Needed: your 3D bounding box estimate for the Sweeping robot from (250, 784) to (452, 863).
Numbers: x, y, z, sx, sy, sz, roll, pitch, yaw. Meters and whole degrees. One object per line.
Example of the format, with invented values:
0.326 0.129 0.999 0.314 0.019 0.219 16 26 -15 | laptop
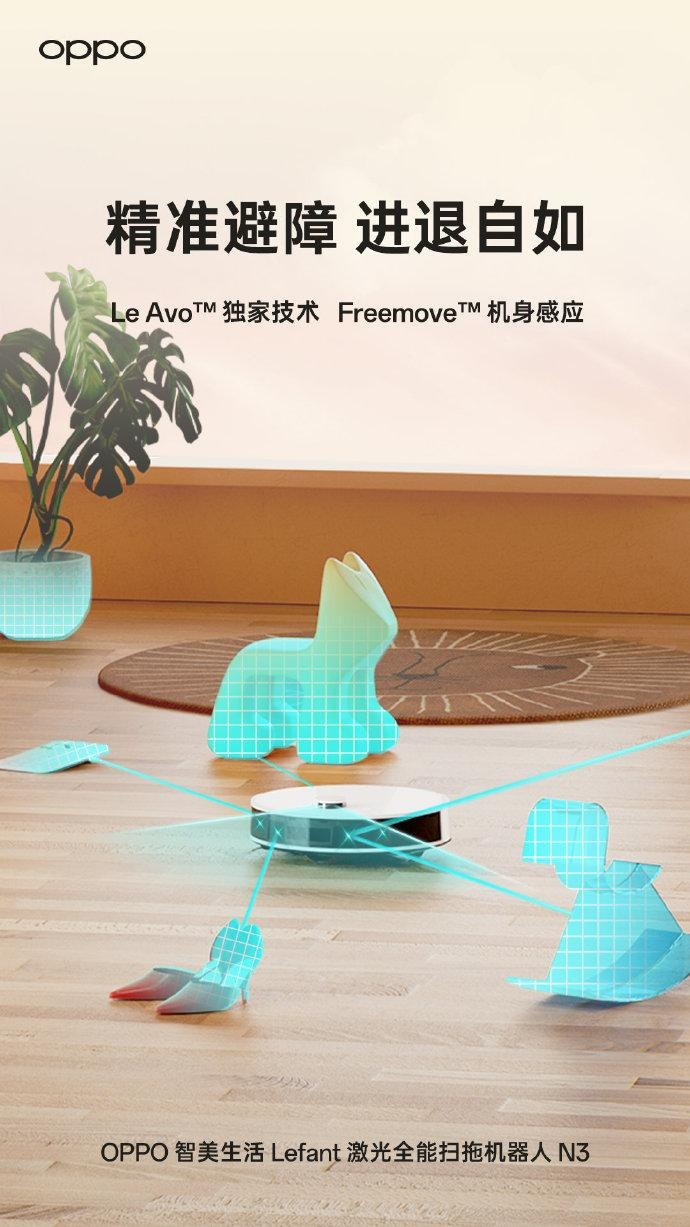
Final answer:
-0.002 0.296 1.637 0.289 0.098 0.256 1 4 9 | Sweeping robot
